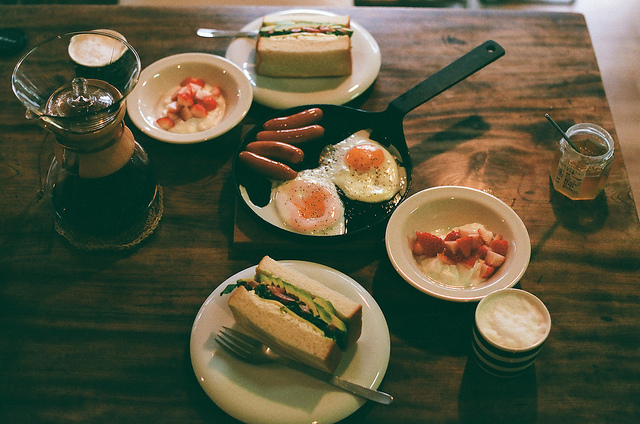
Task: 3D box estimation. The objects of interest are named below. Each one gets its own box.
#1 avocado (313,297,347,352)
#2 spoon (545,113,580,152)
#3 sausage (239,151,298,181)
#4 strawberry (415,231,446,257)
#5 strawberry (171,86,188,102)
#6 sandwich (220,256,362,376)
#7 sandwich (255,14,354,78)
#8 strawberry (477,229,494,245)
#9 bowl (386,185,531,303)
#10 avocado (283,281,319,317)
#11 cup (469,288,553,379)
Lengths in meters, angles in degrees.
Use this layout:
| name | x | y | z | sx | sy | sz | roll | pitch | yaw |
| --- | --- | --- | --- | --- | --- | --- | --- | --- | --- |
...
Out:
| name | x | y | z | sx | sy | sz | roll | pitch | yaw |
| --- | --- | --- | --- | --- | --- | --- | --- | --- | --- |
| avocado | 0.040 | 0.520 | 2.609 | 0.076 | 0.090 | 0.307 | -25 | 51 | -4 |
| spoon | 1.400 | -0.455 | 3.080 | 0.375 | 0.028 | 0.037 | 41 | 37 | -8 |
| sausage | -0.315 | -0.270 | 3.022 | 0.326 | 0.094 | 0.087 | 16 | 29 | -17 |
| strawberry | 0.563 | 0.161 | 2.769 | 0.165 | 0.078 | 0.086 | 27 | 67 | 11 |
| strawberry | -0.846 | -0.724 | 3.207 | 0.101 | 0.027 | 0.100 | -17 | 33 | 12 |
| sandwich | -0.161 | 0.555 | 2.724 | 0.668 | 0.235 | 0.382 | 28 | 57 | 16 |
| sandwich | -0.106 | -1.010 | 3.440 | 0.791 | 0.389 | 0.490 | -6 | 34 | 1 |
| strawberry | 0.868 | 0.127 | 2.777 | 0.095 | 0.056 | 0.087 | -1 | 65 | -2 |
| bowl | 0.695 | 0.169 | 2.763 | 0.694 | 0.169 | 0.654 | 1 | 64 | -2 |
| avocado | -0.096 | 0.437 | 2.655 | 0.226 | 0.060 | 0.047 | 36 | 39 | 22 |
| cup | 0.889 | 0.556 | 2.641 | 0.384 | 0.307 | 0.422 | -1 | 47 | 1 |
